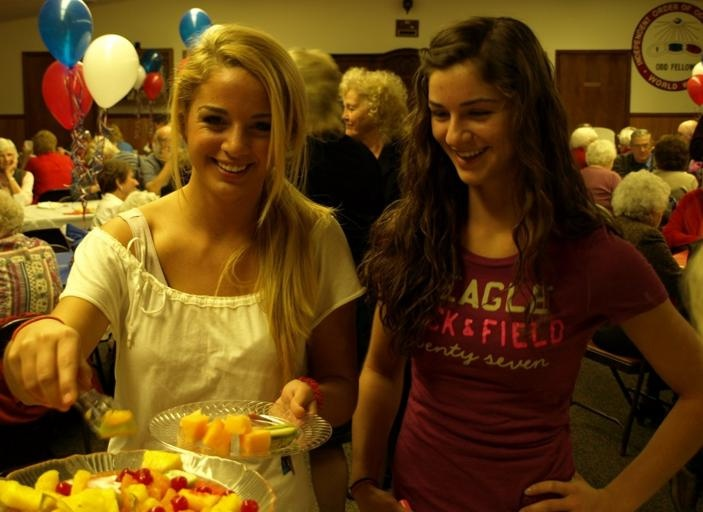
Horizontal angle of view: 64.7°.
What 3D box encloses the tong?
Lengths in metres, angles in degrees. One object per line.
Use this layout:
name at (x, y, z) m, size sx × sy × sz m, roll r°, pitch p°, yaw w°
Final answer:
tong at (-0.512, 0.331, 1.154) m, size 0.092 × 0.074 × 0.161 m, roll -6°, pitch 12°, yaw -34°
